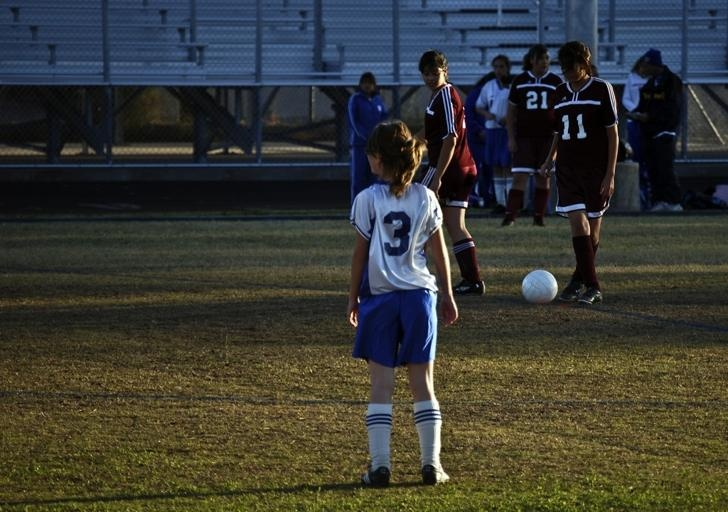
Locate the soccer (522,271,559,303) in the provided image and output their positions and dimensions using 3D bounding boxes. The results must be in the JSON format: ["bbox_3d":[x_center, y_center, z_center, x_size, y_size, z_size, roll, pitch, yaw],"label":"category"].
[{"bbox_3d":[2.176,0.360,19.201,0.360,0.396,0.418,0,52,17],"label":"soccer"}]

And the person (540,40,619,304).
[{"bbox_3d":[2.725,-1.009,19.242,0.764,3.199,0.762,1,8,7],"label":"person"}]

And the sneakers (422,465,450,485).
[{"bbox_3d":[0.694,2.215,15.522,0.312,0.160,0.125,2,2,-32],"label":"sneakers"}]

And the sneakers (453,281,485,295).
[{"bbox_3d":[1.326,0.425,19.577,0.417,0.222,0.163,0,5,9],"label":"sneakers"}]

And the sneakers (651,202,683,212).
[{"bbox_3d":[5.250,-0.796,26.938,0.353,0.151,0.242,1,-1,5],"label":"sneakers"}]

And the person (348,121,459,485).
[{"bbox_3d":[0.370,0.483,15.664,1.051,3.550,0.854,-1,8,-2],"label":"person"}]

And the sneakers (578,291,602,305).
[{"bbox_3d":[2.791,0.543,19.200,0.326,0.164,0.128,2,3,-39],"label":"sneakers"}]
